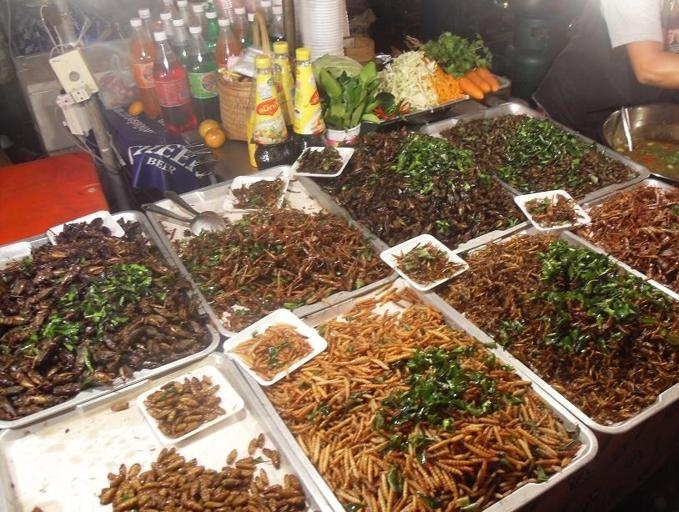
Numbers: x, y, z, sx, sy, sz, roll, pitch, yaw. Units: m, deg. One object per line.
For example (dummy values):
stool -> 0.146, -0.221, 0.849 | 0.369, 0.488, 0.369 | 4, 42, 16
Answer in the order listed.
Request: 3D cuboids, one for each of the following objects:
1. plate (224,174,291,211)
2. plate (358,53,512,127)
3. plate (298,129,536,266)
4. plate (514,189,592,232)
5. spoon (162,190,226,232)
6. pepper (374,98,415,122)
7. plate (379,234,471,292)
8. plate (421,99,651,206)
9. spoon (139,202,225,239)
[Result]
plate -> -0.591, -0.454, 3.547 | 0.408, 0.052, 0.309 | 2, 44, 4
plate -> 0.871, -1.632, 4.717 | 1.311, 0.312, 0.874 | -16, 49, -14
plate -> 0.502, -0.475, 3.544 | 1.090, 0.297, 1.067 | -20, 48, -25
plate -> 1.504, -0.311, 3.457 | 0.424, 0.108, 0.334 | -11, 44, -9
spoon -> -1.049, -0.302, 3.422 | 0.550, 0.066, 0.204 | 24, 49, 30
pepper -> 0.476, -1.273, 4.341 | 0.332, 0.120, 0.300 | -35, 40, -23
plate -> 0.555, 0.045, 3.133 | 0.434, 0.120, 0.405 | -27, 47, -25
plate -> 1.523, -0.837, 3.979 | 1.008, 0.155, 1.270 | -22, 42, -28
spoon -> -1.142, -0.242, 3.451 | 0.638, 0.091, 0.207 | 15, 53, 6
